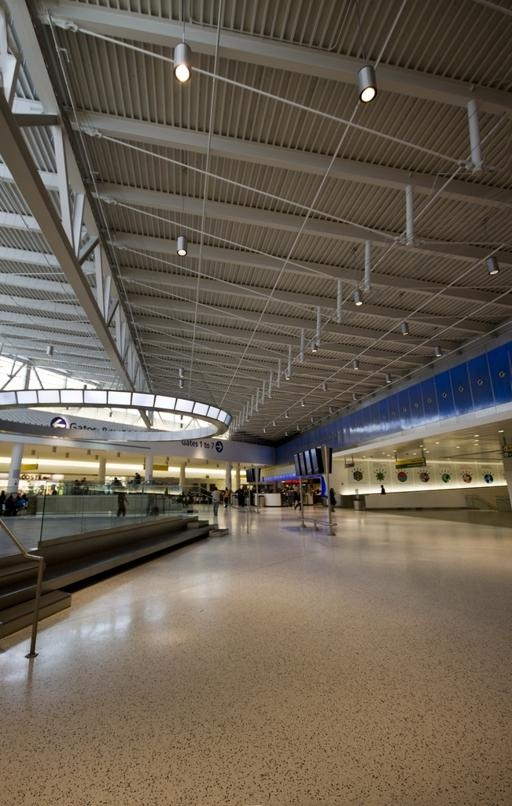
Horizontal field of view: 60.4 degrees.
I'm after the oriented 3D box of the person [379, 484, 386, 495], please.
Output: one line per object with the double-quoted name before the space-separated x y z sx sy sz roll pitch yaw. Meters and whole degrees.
"person" 7.895 5.488 27.789 0.342 0.627 1.882 -5 -12 15
